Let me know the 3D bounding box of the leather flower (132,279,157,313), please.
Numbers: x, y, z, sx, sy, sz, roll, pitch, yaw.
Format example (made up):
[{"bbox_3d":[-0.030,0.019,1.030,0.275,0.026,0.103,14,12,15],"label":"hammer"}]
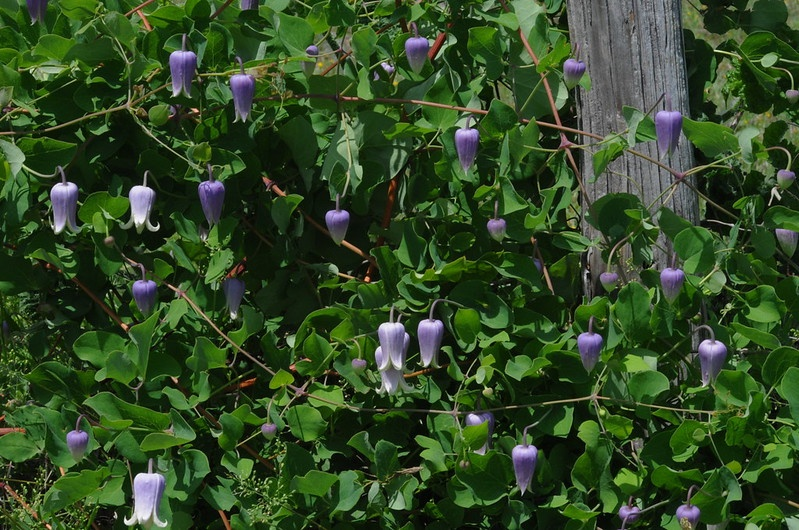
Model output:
[{"bbox_3d":[-0.901,0.105,3.474,0.090,0.171,0.103,2,14,-11],"label":"leather flower"}]

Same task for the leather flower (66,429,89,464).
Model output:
[{"bbox_3d":[-1.108,0.617,3.351,0.066,0.121,0.071,23,38,39],"label":"leather flower"}]

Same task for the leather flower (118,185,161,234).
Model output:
[{"bbox_3d":[-0.888,-0.195,3.421,0.118,0.174,0.122,1,-11,36],"label":"leather flower"}]

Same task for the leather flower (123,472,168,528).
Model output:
[{"bbox_3d":[-0.838,0.787,3.353,0.170,0.211,0.157,5,-8,-40],"label":"leather flower"}]
